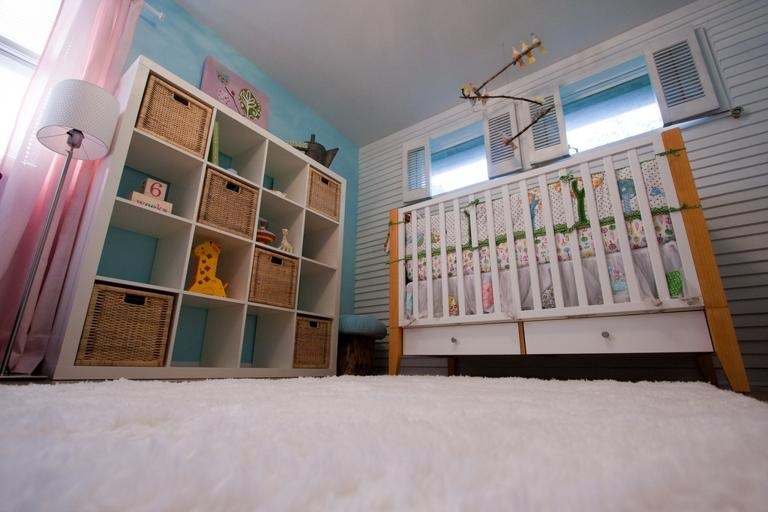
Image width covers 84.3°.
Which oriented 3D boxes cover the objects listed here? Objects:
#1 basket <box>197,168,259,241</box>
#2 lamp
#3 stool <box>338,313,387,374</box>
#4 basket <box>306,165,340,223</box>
[{"bbox_3d":[-1.145,-0.360,3.068,0.261,0.426,0.437,-7,-20,37],"label":"basket"},{"bbox_3d":[-1.858,-0.197,2.418,0.442,1.670,0.335,-4,-14,20],"label":"lamp"},{"bbox_3d":[-0.163,0.793,3.828,0.473,0.426,0.469,2,-20,1],"label":"stool"},{"bbox_3d":[-0.569,-0.552,3.876,0.274,0.348,0.477,-3,-15,28],"label":"basket"}]
